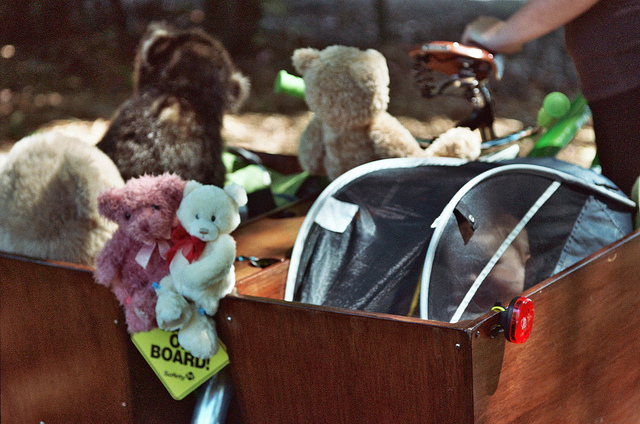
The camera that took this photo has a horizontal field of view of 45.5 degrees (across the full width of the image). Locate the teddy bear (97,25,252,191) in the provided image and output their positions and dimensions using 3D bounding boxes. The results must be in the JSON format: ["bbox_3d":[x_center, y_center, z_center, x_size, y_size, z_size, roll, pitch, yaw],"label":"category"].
[{"bbox_3d":[-0.422,-0.318,2.249,0.376,0.521,0.241,12,-9,2],"label":"teddy bear"}]

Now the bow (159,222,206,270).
[{"bbox_3d":[-0.328,0.087,1.795,0.105,0.121,0.042,13,16,21],"label":"bow"}]

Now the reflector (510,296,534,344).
[{"bbox_3d":[0.464,0.240,1.734,0.035,0.102,0.099,15,17,29],"label":"reflector"}]

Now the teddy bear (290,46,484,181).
[{"bbox_3d":[0.177,-0.313,2.403,0.579,0.451,0.380,8,22,37],"label":"teddy bear"}]
